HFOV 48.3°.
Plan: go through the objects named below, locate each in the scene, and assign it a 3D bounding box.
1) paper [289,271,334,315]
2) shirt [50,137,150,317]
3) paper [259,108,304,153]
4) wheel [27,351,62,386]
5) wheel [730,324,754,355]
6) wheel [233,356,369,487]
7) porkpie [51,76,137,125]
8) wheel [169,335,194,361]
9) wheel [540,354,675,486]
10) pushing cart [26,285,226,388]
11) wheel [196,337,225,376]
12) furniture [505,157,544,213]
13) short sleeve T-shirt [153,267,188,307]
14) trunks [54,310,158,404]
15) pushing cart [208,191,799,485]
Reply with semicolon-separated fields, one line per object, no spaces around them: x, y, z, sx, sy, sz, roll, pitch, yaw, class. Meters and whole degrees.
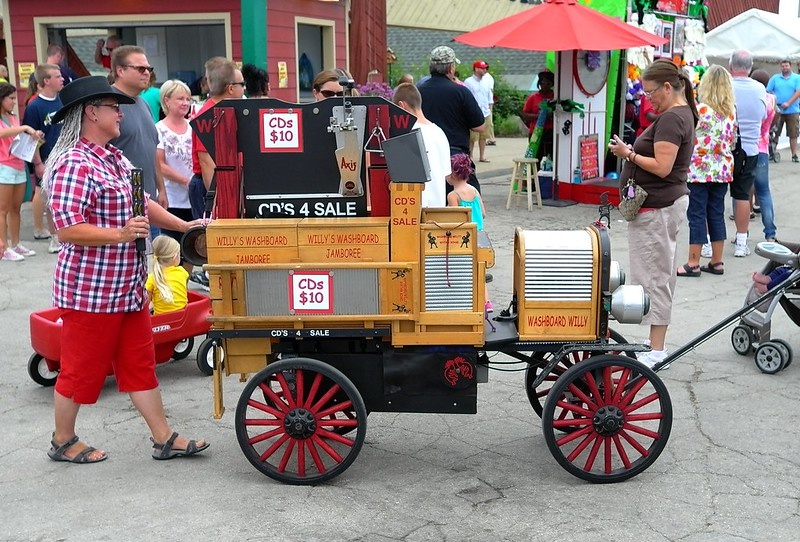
-0.583;0.140;5.948;0.287;0.272;0.038;0;4;0;paper
-2.113;-0.286;6.181;0.625;1.209;0.348;-6;12;-23;shirt
-0.826;-0.967;6.235;0.323;0.311;0.051;1;4;11;paper
-2.883;0.799;7.252;0.094;0.298;0.299;9;-16;33;wheel
3.030;0.619;7.859;0.114;0.273;0.271;-7;1;-27;wheel
-0.664;1.045;6.145;0.713;0.691;0.100;17;7;2;wheel
-2.134;-1.164;6.211;0.429;0.164;0.362;-27;9;-14;porkpie
-1.910;0.670;7.763;0.080;0.227;0.227;0;12;5;wheel
1.414;1.028;6.205;0.867;0.868;0.367;4;-1;-5;wheel
-2.249;0.531;7.510;1.558;0.717;0.875;-10;16;-42;pushing cart
-1.554;0.737;7.531;0.291;0.290;0.090;-15;-13;40;wheel
1.868;-1.277;13.320;0.536;0.701;0.547;-1;10;-1;furniture
-1.944;0.153;7.497;0.317;0.302;0.175;-3;3;-25;short sleeve T-shirt
-2.102;0.593;6.456;0.462;0.627;0.796;-12;-5;44;trunks
1.008;0.384;6.981;5.305;2.176;1.367;-2;15;0;pushing cart
